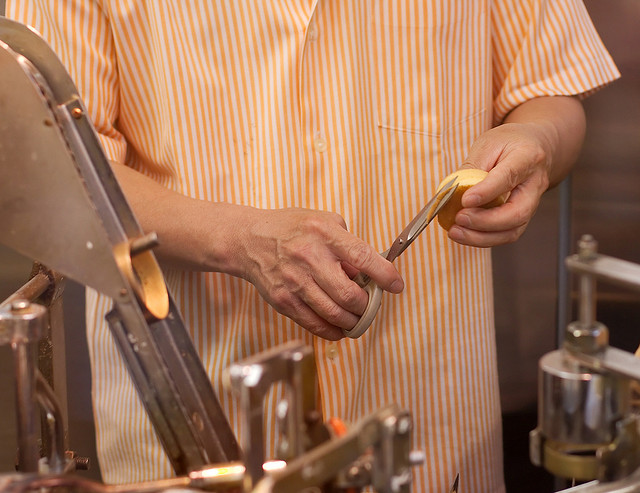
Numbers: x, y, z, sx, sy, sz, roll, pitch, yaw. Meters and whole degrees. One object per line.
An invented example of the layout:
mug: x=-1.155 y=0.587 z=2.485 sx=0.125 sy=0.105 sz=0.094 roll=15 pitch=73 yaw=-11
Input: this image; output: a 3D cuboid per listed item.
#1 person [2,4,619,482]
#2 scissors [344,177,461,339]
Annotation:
person: x=-0.035 y=-0.035 z=1.269 sx=0.815 sy=0.952 sz=0.445 roll=-9 pitch=14 yaw=-20
scissors: x=0.152 y=0.013 z=1.378 sx=0.212 sy=0.220 sz=0.085 roll=26 pitch=14 yaw=-46
